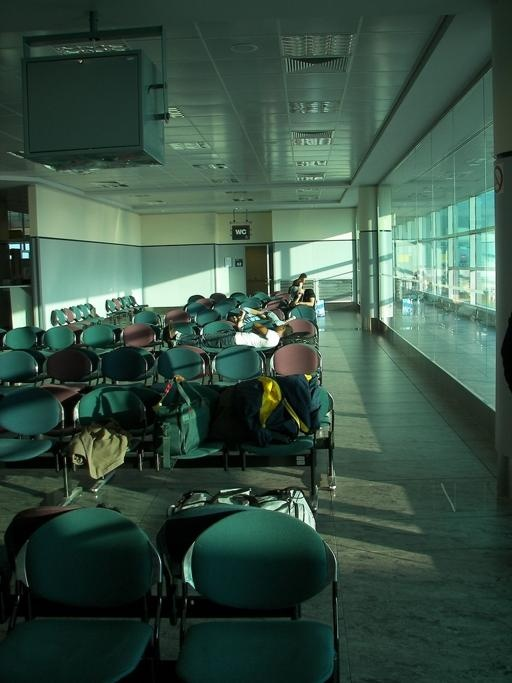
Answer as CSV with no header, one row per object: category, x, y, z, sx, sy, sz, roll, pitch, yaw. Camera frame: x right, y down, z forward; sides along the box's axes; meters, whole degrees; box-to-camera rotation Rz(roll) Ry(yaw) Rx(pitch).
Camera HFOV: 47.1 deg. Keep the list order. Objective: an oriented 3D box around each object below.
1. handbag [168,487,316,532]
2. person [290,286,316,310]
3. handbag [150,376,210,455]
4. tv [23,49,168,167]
handbag,-0.056,0.746,2.751,0.579,0.189,0.390,1,-8,-2
person,1.025,-0.854,11.941,0.423,0.539,1.022,-4,6,23
handbag,-0.542,0.554,4.202,0.261,0.527,0.588,0,-1,15
tv,-1.296,-1.820,5.036,0.963,0.863,0.683,-1,-1,6
